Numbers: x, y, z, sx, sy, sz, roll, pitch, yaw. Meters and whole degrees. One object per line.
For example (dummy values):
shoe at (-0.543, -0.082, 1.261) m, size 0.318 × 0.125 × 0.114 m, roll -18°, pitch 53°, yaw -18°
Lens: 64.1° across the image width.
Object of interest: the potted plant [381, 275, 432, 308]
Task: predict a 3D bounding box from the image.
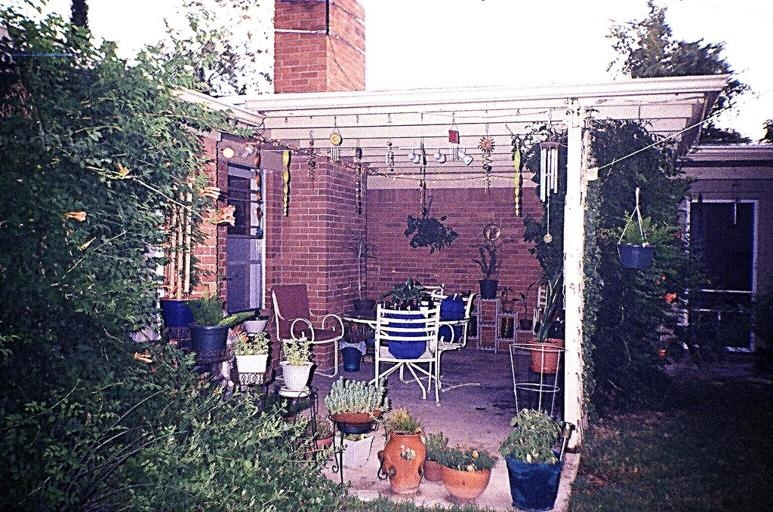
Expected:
potted plant at (0.251, 0.504, 7.854) m, size 0.434 × 0.231 × 0.451 m, roll -6°, pitch 8°, yaw 22°

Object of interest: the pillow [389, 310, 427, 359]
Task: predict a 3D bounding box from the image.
pillow at (0.242, 0.954, 7.534) m, size 0.482 × 0.582 × 0.264 m, roll 3°, pitch 8°, yaw -1°

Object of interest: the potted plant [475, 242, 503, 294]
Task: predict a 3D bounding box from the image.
potted plant at (1.770, 0.238, 10.800) m, size 0.437 × 0.917 × 0.582 m, roll 3°, pitch 8°, yaw -1°

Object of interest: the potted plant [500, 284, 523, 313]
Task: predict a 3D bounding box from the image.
potted plant at (2.166, 0.736, 10.673) m, size 0.446 × 0.477 × 0.305 m, roll 0°, pitch -3°, yaw 12°

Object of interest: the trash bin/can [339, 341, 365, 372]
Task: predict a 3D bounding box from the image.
trash bin/can at (-0.468, 1.498, 9.200) m, size 0.375 × 0.392 × 0.393 m, roll -7°, pitch -10°, yaw 23°

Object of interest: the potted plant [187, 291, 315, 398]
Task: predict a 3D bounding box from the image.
potted plant at (-1.432, 0.892, 6.043) m, size 0.818 × 0.909 × 0.814 m, roll 2°, pitch -9°, yaw -19°

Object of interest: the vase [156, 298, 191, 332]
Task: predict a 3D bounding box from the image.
vase at (-1.943, 0.526, 5.721) m, size 0.275 × 0.279 × 0.286 m, roll 1°, pitch 1°, yaw 8°

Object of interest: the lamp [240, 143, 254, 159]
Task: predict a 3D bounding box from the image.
lamp at (-1.733, -1.315, 7.704) m, size 0.142 × 0.181 × 1.129 m, roll 1°, pitch 8°, yaw -12°

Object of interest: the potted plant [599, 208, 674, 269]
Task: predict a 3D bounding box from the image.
potted plant at (2.853, -0.154, 6.907) m, size 0.745 × 0.366 × 0.721 m, roll 0°, pitch 9°, yaw 10°

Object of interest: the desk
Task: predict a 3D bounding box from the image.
desk at (0.418, 1.088, 8.658) m, size 1.181 × 0.812 × 1.236 m, roll 2°, pitch -5°, yaw 6°

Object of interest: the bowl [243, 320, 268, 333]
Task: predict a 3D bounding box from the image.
bowl at (-1.572, 0.842, 7.464) m, size 0.239 × 0.116 × 0.245 m, roll 1°, pitch -6°, yaw 0°
